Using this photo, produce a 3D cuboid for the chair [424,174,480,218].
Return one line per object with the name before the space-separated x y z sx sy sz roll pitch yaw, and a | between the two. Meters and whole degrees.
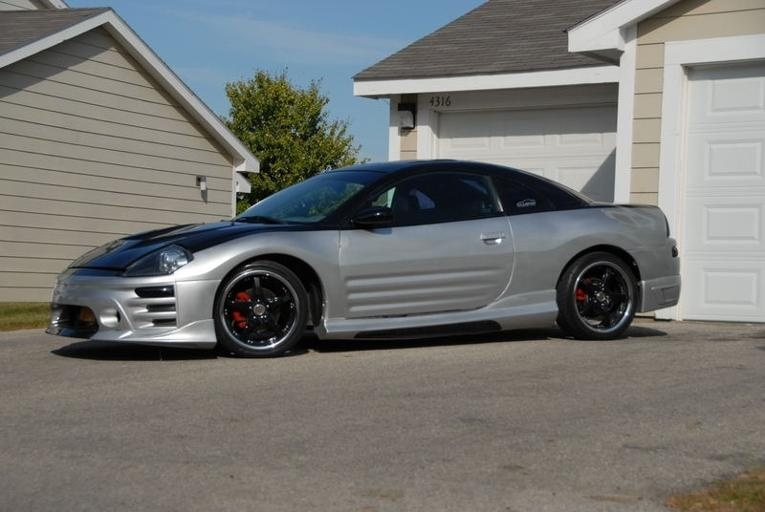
chair | 0.764 -0.630 7.503 0.631 0.393 0.192 5 -12 -32
